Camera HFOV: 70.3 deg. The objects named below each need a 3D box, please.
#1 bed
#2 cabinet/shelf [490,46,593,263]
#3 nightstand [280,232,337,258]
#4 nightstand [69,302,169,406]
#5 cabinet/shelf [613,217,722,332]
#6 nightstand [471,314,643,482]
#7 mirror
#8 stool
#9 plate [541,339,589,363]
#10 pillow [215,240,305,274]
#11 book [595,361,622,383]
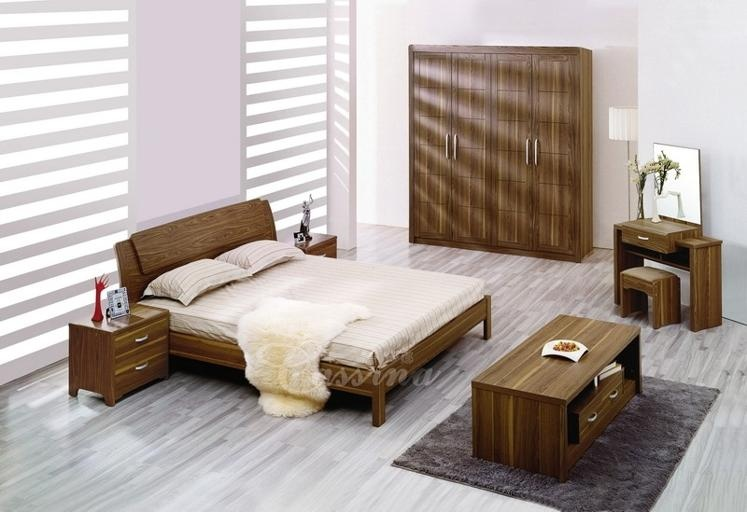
[{"bbox_3d":[-0.559,0.271,4.729,2.545,0.988,2.012,10,20,30],"label":"bed"},{"bbox_3d":[2.331,-1.266,6.742,0.614,2.574,0.856,-2,22,1],"label":"cabinet/shelf"},{"bbox_3d":[-0.709,-0.043,6.074,0.310,0.363,0.424,10,16,33],"label":"nightstand"},{"bbox_3d":[-1.952,0.767,4.124,0.478,0.474,0.611,4,6,15],"label":"nightstand"},{"bbox_3d":[2.890,0.137,5.339,0.458,0.928,1.060,-10,15,-13],"label":"cabinet/shelf"},{"bbox_3d":[1.100,0.863,3.218,0.769,0.514,1.537,6,17,34],"label":"nightstand"},{"bbox_3d":[2.970,-0.705,5.220,0.150,0.699,0.659,-7,21,-11],"label":"mirror"},{"bbox_3d":[2.694,0.386,5.183,0.376,0.432,0.430,-7,10,-18],"label":"stool"},{"bbox_3d":[1.231,0.604,3.440,0.176,0.045,0.164,3,14,23],"label":"plate"},{"bbox_3d":[-1.178,-0.023,5.358,0.608,0.173,0.688,-6,0,38],"label":"pillow"},{"bbox_3d":[1.573,0.767,3.548,0.144,0.031,0.140,2,9,34],"label":"book"}]
